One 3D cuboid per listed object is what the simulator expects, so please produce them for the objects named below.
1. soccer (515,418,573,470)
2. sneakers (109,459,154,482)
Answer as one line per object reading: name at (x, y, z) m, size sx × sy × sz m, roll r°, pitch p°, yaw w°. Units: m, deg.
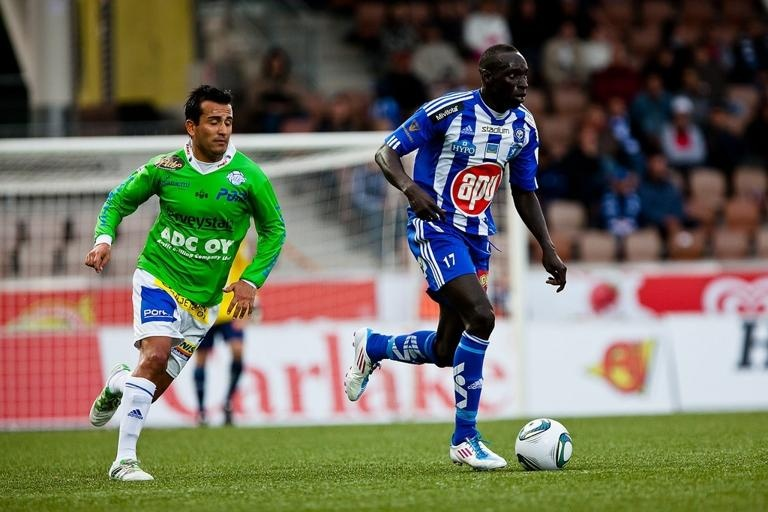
soccer at (1.505, 1.730, 9.960) m, size 0.470 × 0.468 × 0.495 m, roll 6°, pitch -4°, yaw 33°
sneakers at (-2.359, 1.982, 9.876) m, size 0.440 × 0.160 × 0.173 m, roll -3°, pitch -6°, yaw 23°
